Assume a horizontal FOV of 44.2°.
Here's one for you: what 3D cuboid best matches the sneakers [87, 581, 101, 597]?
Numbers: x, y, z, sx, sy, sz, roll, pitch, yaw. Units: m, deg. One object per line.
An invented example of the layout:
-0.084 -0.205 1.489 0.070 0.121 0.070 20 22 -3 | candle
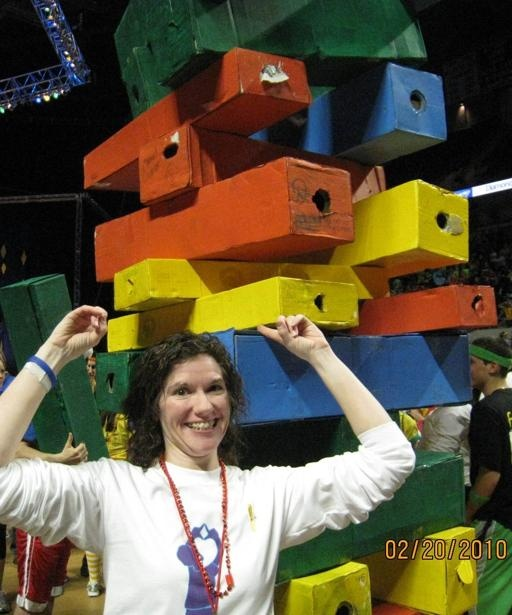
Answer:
-0.889 1.562 3.483 0.045 0.047 0.117 7 10 -4 | sneakers
